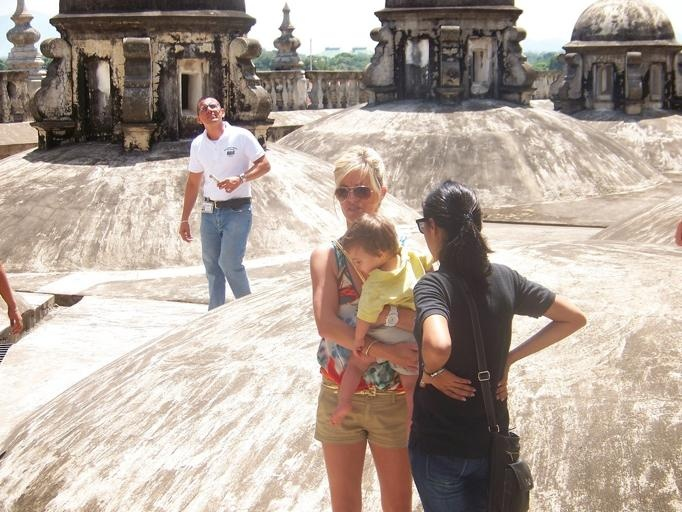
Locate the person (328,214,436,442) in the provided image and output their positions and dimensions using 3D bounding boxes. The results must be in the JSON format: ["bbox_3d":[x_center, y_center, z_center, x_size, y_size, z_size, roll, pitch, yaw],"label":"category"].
[{"bbox_3d":[0.160,0.330,2.120,0.500,0.962,0.271,-8,16,-26],"label":"person"}]

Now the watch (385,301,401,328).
[{"bbox_3d":[0.193,0.234,1.993,0.049,0.077,0.076,1,39,-7],"label":"watch"}]

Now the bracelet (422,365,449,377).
[{"bbox_3d":[0.323,0.388,1.696,0.069,0.042,0.054,1,11,-2],"label":"bracelet"}]

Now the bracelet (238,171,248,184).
[{"bbox_3d":[-1.000,-0.796,5.191,0.066,0.110,0.095,-1,3,-3],"label":"bracelet"}]

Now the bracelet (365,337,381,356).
[{"bbox_3d":[0.123,0.351,1.974,0.024,0.063,0.047,7,5,18],"label":"bracelet"}]

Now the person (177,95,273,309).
[{"bbox_3d":[-1.258,-0.525,5.347,0.869,2.202,0.581,5,12,20],"label":"person"}]
